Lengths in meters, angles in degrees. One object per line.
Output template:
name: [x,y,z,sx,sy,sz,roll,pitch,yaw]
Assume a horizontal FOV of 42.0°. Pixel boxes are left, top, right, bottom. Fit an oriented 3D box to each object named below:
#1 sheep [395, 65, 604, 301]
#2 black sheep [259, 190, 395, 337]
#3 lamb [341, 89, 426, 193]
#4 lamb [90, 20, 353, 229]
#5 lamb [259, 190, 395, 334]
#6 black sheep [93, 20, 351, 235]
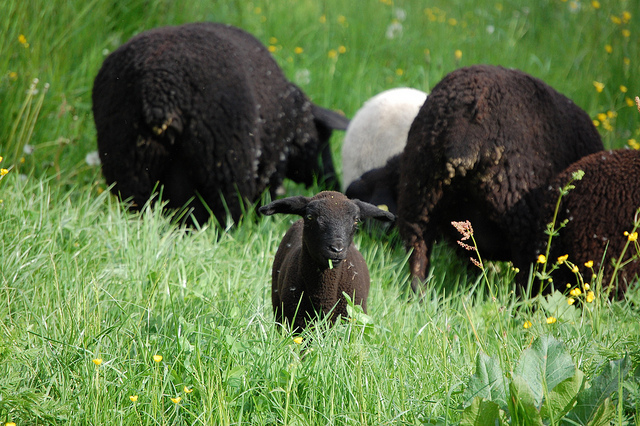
sheep: [1.350,-0.368,6.736,1.146,1.702,2.422,5,12,19]
black sheep: [0.001,0.410,5.493,0.810,1.008,1.536,0,-2,-11]
lamb: [0.494,-0.674,6.924,0.741,0.796,0.923,-9,17,5]
lamb: [-0.848,-0.728,6.759,1.156,1.435,1.971,0,1,39]
lamb: [0.025,0.372,5.501,0.649,0.984,1.532,3,1,-7]
black sheep: [-0.888,-0.686,6.805,1.253,1.510,2.124,-1,1,40]
